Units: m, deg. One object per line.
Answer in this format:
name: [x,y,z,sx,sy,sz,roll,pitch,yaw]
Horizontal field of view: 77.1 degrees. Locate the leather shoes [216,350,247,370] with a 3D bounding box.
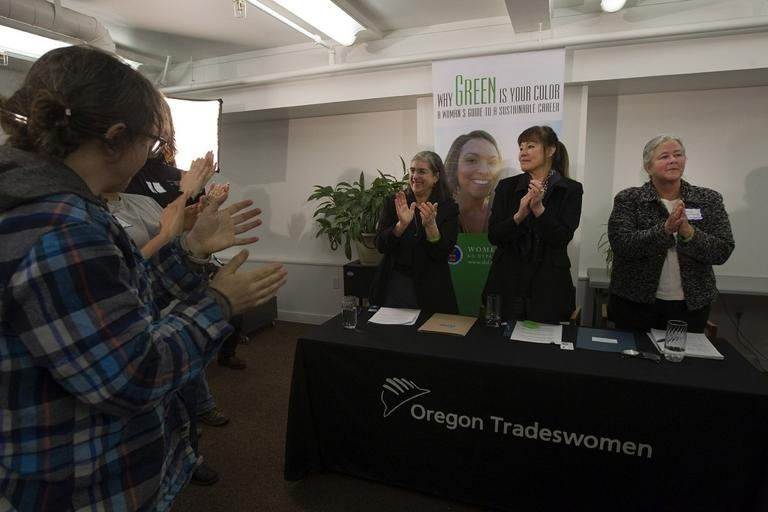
leather shoes: [-1.320,0.903,4.178,0.256,0.163,0.126,0,7,-1]

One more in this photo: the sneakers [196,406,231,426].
sneakers: [-1.223,1.120,3.378,0.254,0.117,0.100,2,4,14]

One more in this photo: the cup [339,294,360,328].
cup: [-0.196,0.320,2.826,0.146,0.239,0.143,1,12,0]

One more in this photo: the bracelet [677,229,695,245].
bracelet: [1.844,-0.116,2.944,0.091,0.092,0.066,5,13,17]

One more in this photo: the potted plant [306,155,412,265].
potted plant: [-0.129,-0.364,5.090,1.042,0.890,1.039,-2,-5,39]

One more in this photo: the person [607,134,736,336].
person: [1.815,0.001,3.109,0.696,1.006,0.407,8,14,28]

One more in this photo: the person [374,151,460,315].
person: [0.227,-0.184,3.446,0.593,1.110,0.433,1,12,1]
